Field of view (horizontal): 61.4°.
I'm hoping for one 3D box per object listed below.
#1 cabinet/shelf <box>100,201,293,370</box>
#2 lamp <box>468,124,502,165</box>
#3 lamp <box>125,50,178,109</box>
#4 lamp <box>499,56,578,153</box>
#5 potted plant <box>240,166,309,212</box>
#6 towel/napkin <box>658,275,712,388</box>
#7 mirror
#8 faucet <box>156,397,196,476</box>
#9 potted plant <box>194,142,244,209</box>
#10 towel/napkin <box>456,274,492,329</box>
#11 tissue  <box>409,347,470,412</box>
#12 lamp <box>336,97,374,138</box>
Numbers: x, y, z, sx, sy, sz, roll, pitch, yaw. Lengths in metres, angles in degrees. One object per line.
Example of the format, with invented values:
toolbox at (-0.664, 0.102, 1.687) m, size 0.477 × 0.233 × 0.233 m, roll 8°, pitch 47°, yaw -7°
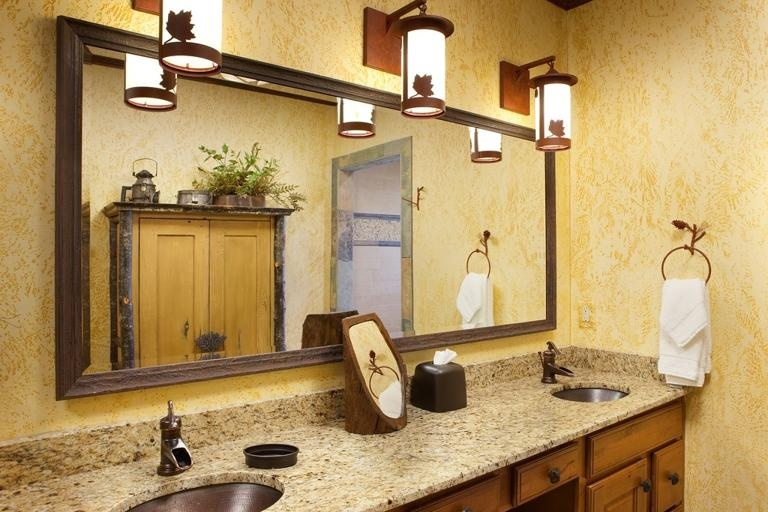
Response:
cabinet/shelf at (-0.846, 0.131, 2.800) m, size 0.756 × 0.711 × 0.308 m, roll 2°, pitch -5°, yaw -29°
lamp at (0.561, -0.614, 3.609) m, size 0.187 × 0.210 × 0.190 m, roll -1°, pitch -1°, yaw 18°
lamp at (-0.982, -0.723, 2.749) m, size 0.218 × 0.242 × 0.219 m, roll -2°, pitch -4°, yaw 4°
lamp at (0.879, -0.853, 3.572) m, size 0.263 × 0.540 × 0.412 m, roll 1°, pitch -3°, yaw -44°
potted plant at (-0.495, -0.305, 2.971) m, size 0.155 × 0.114 × 0.251 m, roll 32°, pitch 12°, yaw 16°
towel/napkin at (1.614, 0.411, 3.470) m, size 0.248 × 0.566 × 0.114 m, roll 2°, pitch 5°, yaw 26°
mirror at (-0.149, -0.219, 3.250) m, size 2.725 × 1.545 × 0.322 m, roll -2°, pitch 4°, yaw -33°
faucet at (-0.850, 0.738, 2.647) m, size 0.144 × 0.294 × 0.130 m, roll 1°, pitch 4°, yaw 7°
potted plant at (-0.723, -0.342, 2.890) m, size 0.243 × 0.315 × 0.234 m, roll 1°, pitch -8°, yaw -17°
towel/napkin at (0.496, 0.246, 3.604) m, size 0.192 × 0.287 × 0.172 m, roll 4°, pitch -1°, yaw 4°
tissue  at (0.271, 0.611, 3.211) m, size 0.291 × 0.344 × 0.271 m, roll 7°, pitch -7°, yaw -42°
lamp at (-0.143, -0.664, 3.186) m, size 0.185 × 0.194 × 0.177 m, roll 0°, pitch -4°, yaw -5°
